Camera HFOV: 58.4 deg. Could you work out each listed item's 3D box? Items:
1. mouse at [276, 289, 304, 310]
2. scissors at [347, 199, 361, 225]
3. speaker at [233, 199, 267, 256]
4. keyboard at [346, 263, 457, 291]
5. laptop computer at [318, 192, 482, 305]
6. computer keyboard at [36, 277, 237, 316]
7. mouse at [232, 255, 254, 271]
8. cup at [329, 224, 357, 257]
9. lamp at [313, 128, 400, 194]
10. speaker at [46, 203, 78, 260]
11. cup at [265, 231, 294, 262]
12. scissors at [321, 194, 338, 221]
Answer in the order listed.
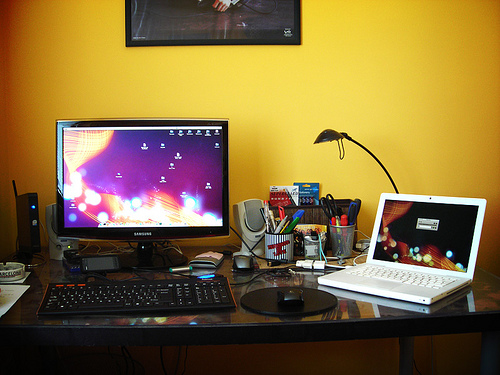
[{"bbox_3d":[0.139,0.361,1.479,0.104,0.045,0.094,-2,9,-9],"label":"mouse"},{"bbox_3d":[0.444,0.099,1.916,0.032,0.147,0.027,5,4,5],"label":"scissors"},{"bbox_3d":[-0.027,0.187,2.033,0.168,0.282,0.181,-4,-1,7],"label":"speaker"},{"bbox_3d":[0.550,0.319,1.637,0.357,0.008,0.149,5,11,31],"label":"keyboard"},{"bbox_3d":[0.566,0.182,1.636,0.498,0.328,0.526,0,2,35],"label":"laptop computer"},{"bbox_3d":[-0.369,0.360,1.516,0.644,0.058,0.191,-1,9,-4],"label":"computer keyboard"},{"bbox_3d":[-0.025,0.285,1.748,0.058,0.037,0.059,3,8,-5],"label":"mouse"},{"bbox_3d":[0.399,0.219,1.952,0.125,0.142,0.134,-2,9,0],"label":"cup"},{"bbox_3d":[0.497,-0.123,2.100,0.472,0.311,0.222,-3,9,-14],"label":"lamp"},{"bbox_3d":[-0.816,0.192,1.913,0.129,0.240,0.088,-2,9,-8],"label":"speaker"},{"bbox_3d":[0.126,0.247,1.924,0.114,0.121,0.112,-2,0,0],"label":"cup"},{"bbox_3d":[0.349,0.086,1.976,0.032,0.113,0.057,-11,-11,35],"label":"scissors"}]
